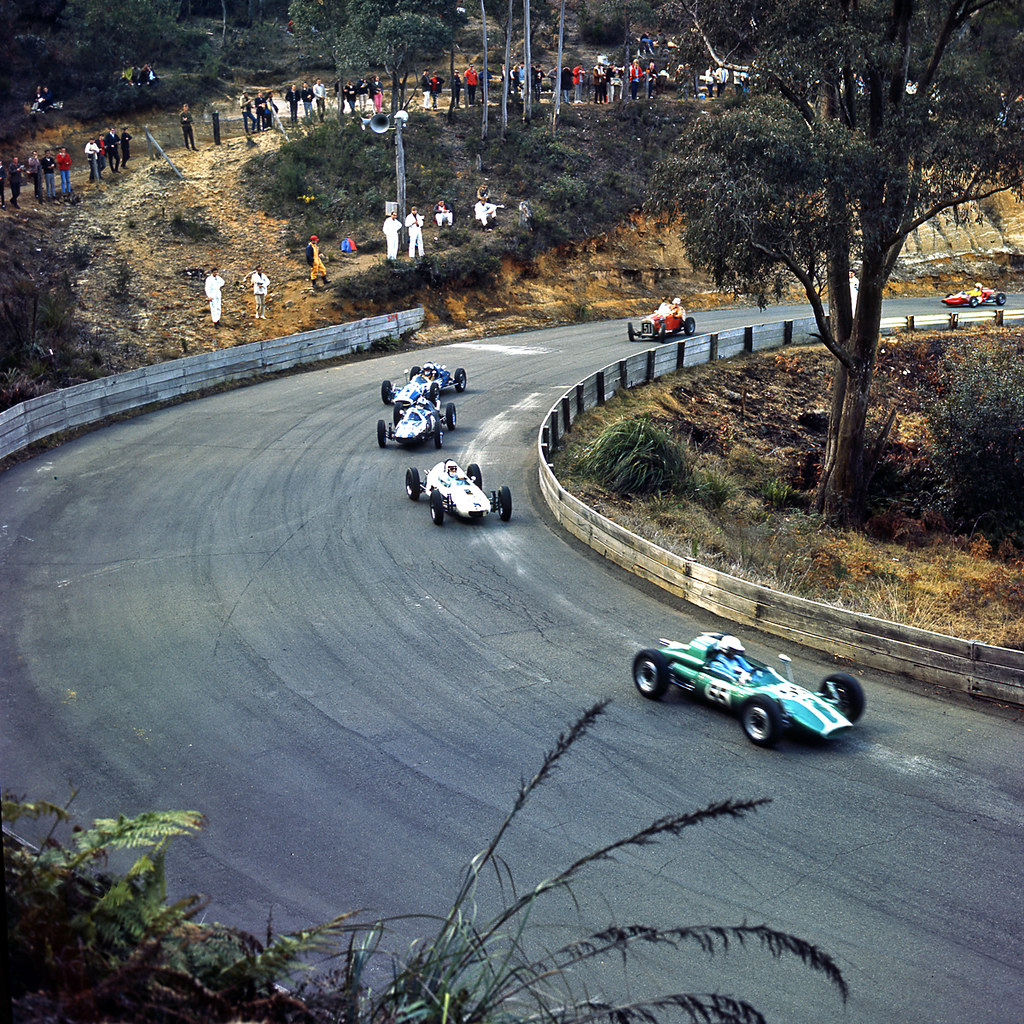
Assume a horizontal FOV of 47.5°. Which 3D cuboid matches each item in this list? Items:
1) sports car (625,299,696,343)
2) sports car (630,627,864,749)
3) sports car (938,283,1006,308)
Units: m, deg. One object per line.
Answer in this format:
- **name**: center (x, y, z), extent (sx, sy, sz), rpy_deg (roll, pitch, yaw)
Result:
- **sports car**: center (5.395, -6.362, 40.023), extent (2.121, 1.182, 1.283), rpy_deg (-5, 6, -42)
- **sports car**: center (2.640, 1.984, 13.531), extent (1.158, 0.839, 2.256), rpy_deg (-12, 24, -40)
- **sports car**: center (18.112, -8.084, 45.650), extent (2.179, 0.745, 0.976), rpy_deg (1, 15, -2)
